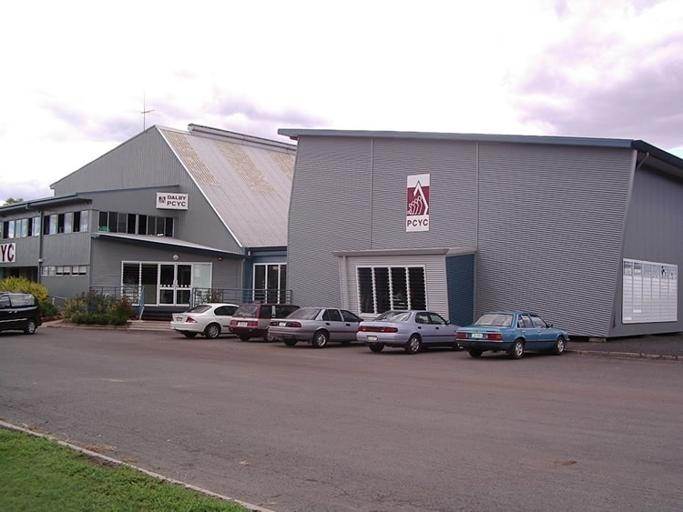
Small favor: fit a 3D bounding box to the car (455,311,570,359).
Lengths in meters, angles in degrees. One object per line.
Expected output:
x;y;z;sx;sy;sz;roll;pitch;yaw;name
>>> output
6.108;2.774;19.124;3.897;1.558;1.316;3;-4;-31;car
